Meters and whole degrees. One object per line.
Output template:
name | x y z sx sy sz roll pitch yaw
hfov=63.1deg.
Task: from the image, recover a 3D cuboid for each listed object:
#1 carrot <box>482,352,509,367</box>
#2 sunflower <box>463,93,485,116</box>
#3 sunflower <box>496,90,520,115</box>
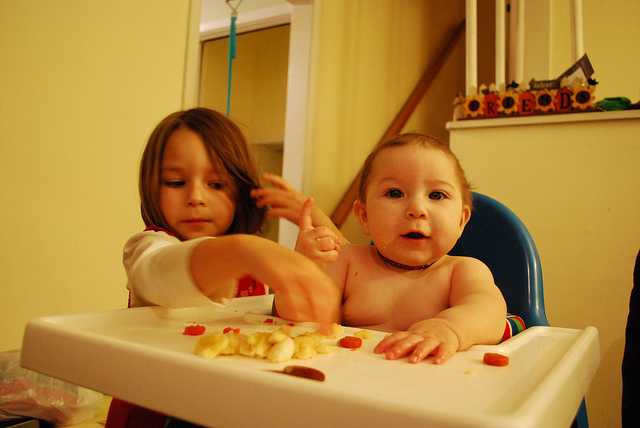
carrot | 0.298 0.249 0.888 0.040 0.013 0.028 -2 6 -10
sunflower | 0.566 -0.399 1.926 0.076 0.078 0.027 3 9 31
sunflower | 0.675 -0.398 1.877 0.076 0.085 0.033 1 8 16
